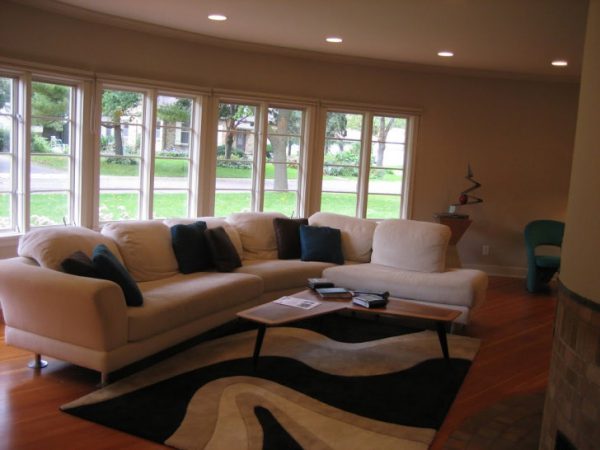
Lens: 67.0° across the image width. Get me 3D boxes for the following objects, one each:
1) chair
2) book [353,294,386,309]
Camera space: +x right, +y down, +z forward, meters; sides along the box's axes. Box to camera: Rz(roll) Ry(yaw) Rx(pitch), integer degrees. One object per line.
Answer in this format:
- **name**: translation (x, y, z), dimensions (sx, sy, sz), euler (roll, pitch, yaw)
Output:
- **chair**: translation (3.386, 0.435, 6.349), dimensions (0.511, 0.955, 0.655), euler (11, 15, 25)
- **book**: translation (0.584, 0.666, 3.966), dimensions (0.156, 0.044, 0.153), euler (-2, 4, -44)
